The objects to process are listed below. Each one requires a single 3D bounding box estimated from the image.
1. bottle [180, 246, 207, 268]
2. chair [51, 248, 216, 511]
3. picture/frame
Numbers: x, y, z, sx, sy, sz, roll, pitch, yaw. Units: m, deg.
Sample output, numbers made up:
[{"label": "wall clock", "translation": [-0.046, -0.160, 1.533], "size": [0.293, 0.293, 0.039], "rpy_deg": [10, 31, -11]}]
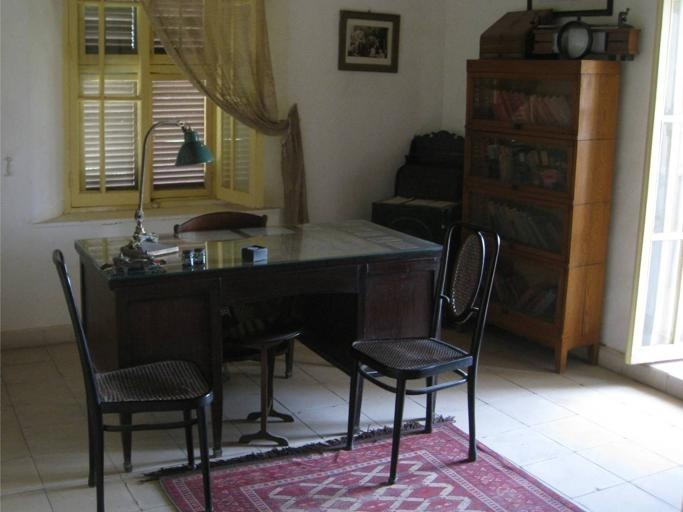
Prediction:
[{"label": "bottle", "translation": [-0.745, 0.009, 3.182], "size": [0.125, 0.099, 0.120], "rpy_deg": [2, 9, 0]}, {"label": "chair", "translation": [-0.924, 0.540, 2.843], "size": [0.557, 1.175, 0.738], "rpy_deg": [-8, 15, -23]}, {"label": "picture/frame", "translation": [0.197, -1.745, 5.048], "size": [0.604, 0.464, 0.058], "rpy_deg": [-4, 18, -24]}]
